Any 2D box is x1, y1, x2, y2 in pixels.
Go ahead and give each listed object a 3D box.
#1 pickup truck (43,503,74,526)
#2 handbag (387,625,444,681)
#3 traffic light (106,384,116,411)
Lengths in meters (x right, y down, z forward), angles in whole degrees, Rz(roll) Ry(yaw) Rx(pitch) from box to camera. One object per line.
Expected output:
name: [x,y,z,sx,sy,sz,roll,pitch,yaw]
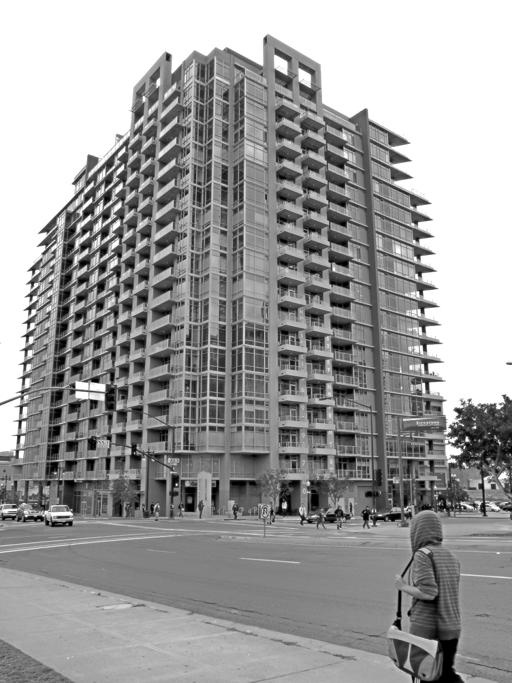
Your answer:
pickup truck: [-14.409,12.653,43.885,1.281,1.226,2.614,3,-5,-26]
handbag: [0.972,1.937,3.743,0.346,0.293,0.242,-8,-17,30]
traffic light: [-6.885,2.589,28.473,0.417,1.383,2.274,4,-16,-12]
